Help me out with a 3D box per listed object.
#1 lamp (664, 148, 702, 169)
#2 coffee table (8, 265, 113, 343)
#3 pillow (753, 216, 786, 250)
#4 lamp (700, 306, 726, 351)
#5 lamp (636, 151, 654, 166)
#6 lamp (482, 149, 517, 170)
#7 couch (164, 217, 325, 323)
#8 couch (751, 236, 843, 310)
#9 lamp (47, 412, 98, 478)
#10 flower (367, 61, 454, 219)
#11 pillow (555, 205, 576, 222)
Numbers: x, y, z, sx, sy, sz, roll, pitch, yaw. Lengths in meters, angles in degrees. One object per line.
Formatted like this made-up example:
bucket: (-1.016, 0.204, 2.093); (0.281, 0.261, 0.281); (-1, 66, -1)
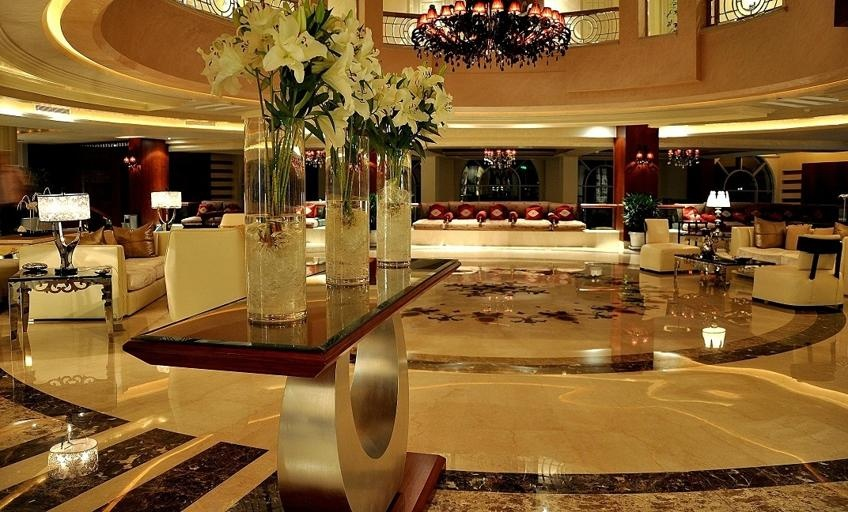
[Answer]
lamp: (10.417, -3.947, 19.821); (1.003, 0.593, 0.920); (-4, 10, -4)
coffee table: (-4.623, 0.523, 6.389); (1.437, 0.904, 0.948); (1, -4, -25)
pillow: (7.251, -0.462, 10.382); (1.117, 0.745, 0.372); (-9, 8, -35)
lamp: (3.715, 0.939, 6.358); (0.305, 0.358, 0.286); (-2, 0, -27)
lamp: (6.701, -2.970, 14.927); (0.498, 0.368, 0.180); (-2, 5, -4)
lamp: (2.927, -3.834, 18.991); (1.116, 0.530, 1.056); (1, 6, 19)
couch: (-2.786, 0.173, 7.183); (1.742, 1.857, 1.608); (3, 5, 36)
couch: (6.006, 0.259, 7.895); (1.298, 1.177, 1.155); (0, 1, -27)
lamp: (-2.561, 1.440, 3.623); (0.241, 0.231, 0.234); (1, 0, 26)
flower: (-0.072, -0.821, 3.107); (0.535, 0.832, 0.887); (-1, 12, -3)
pillow: (4.471, -1.378, 15.576); (0.626, 0.539, 0.297); (5, -21, 10)
